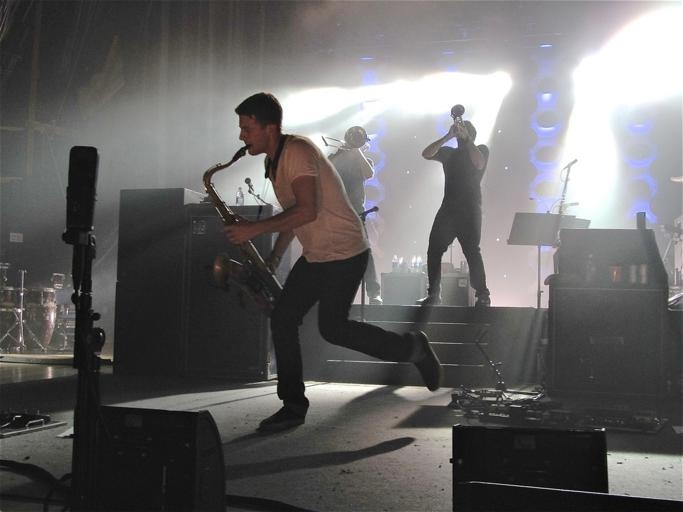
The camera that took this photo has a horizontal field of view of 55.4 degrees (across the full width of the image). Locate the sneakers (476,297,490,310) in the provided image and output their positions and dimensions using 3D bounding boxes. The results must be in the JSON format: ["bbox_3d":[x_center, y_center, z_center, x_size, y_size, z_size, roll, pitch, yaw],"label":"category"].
[{"bbox_3d":[1.318,0.435,6.039,0.113,0.103,0.110,7,-18,-21],"label":"sneakers"}]

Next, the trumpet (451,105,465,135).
[{"bbox_3d":[1.132,-1.331,6.315,0.187,0.293,0.070,4,18,17],"label":"trumpet"}]

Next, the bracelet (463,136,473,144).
[{"bbox_3d":[1.233,-1.128,6.323,0.068,0.048,0.066,2,-10,-12],"label":"bracelet"}]

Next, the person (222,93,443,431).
[{"bbox_3d":[-0.093,0.032,4.211,1.303,2.147,0.461,0,1,-10],"label":"person"}]

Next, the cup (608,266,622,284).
[{"bbox_3d":[2.074,0.127,4.910,0.080,0.104,0.037,1,1,21],"label":"cup"}]

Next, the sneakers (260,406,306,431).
[{"bbox_3d":[-0.377,1.052,4.191,0.297,0.120,0.109,4,-7,-32],"label":"sneakers"}]
